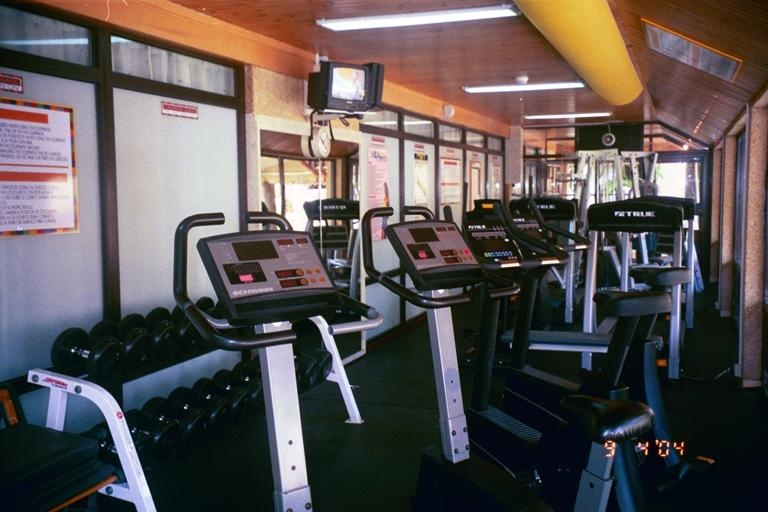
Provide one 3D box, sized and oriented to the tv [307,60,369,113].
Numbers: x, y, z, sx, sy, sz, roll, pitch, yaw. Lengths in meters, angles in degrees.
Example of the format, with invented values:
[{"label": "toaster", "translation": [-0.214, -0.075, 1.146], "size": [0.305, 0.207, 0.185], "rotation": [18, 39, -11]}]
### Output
[{"label": "tv", "translation": [-0.447, -1.633, 5.303], "size": [0.616, 0.454, 0.286], "rotation": [-4, 7, -6]}]
